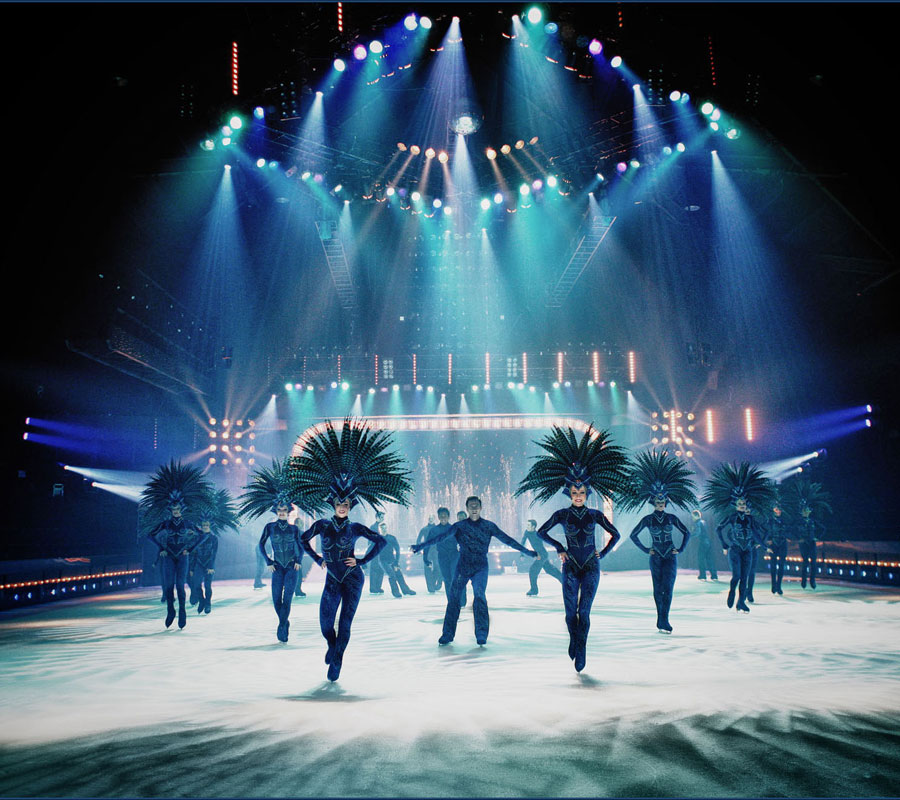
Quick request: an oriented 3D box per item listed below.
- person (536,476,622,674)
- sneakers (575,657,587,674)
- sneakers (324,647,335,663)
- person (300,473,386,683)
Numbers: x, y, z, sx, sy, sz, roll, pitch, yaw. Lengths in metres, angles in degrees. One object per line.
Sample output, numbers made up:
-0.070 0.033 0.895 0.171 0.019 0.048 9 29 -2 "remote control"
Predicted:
1.517 2.066 8.761 0.822 2.185 1.485 -4 -9 23 "person"
1.443 2.945 7.963 0.097 0.146 0.216 -1 -10 2 "sneakers"
-1.324 2.803 7.859 0.054 0.188 0.289 2 -10 -13 "sneakers"
-1.254 2.002 8.312 0.904 2.239 1.165 2 -9 -12 "person"
